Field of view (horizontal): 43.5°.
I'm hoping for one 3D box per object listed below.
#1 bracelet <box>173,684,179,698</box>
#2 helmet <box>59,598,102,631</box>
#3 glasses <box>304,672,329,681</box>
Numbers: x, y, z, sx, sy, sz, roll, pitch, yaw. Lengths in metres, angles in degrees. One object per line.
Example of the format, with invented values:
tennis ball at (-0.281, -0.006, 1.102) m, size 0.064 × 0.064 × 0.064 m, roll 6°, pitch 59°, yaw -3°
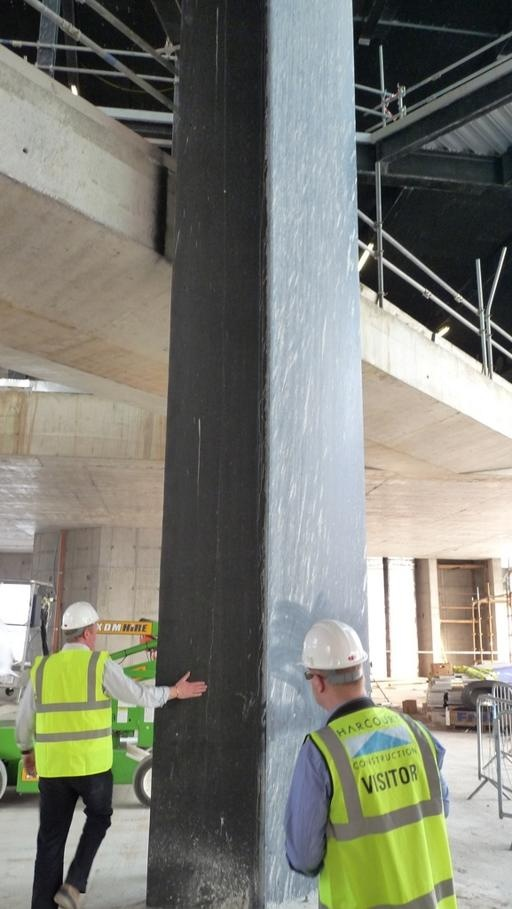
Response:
bracelet at (-0.364, 1.068, 2.883) m, size 0.031 × 0.044 × 0.043 m, roll 3°, pitch -7°, yaw -28°
helmet at (-1.081, 0.992, 3.965) m, size 0.148 × 0.133 × 0.220 m, roll -2°, pitch -6°, yaw 7°
glasses at (0.187, 0.672, 1.934) m, size 0.062 × 0.024 × 0.063 m, roll 16°, pitch -12°, yaw -25°
